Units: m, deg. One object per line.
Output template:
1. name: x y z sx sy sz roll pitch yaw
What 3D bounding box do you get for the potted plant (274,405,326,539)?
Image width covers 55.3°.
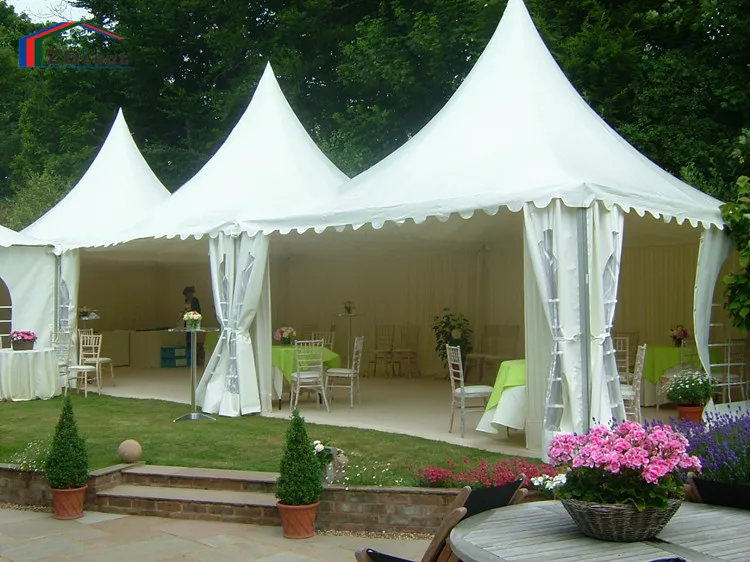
1. potted plant: -0.627 1.589 5.948 0.387 1.047 0.389 0 -6 -6

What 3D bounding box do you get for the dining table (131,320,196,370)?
1. dining table: -4.333 1.346 14.697 1.011 0.727 0.581 -6 4 -5

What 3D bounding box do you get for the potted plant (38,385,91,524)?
1. potted plant: -2.763 1.572 6.435 0.342 1.071 0.217 2 -6 -25

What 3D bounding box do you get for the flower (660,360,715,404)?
1. flower: 3.868 1.307 8.841 0.497 0.422 0.342 -4 -7 22

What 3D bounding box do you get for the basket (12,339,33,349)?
1. basket: -5.493 0.985 11.199 0.169 0.119 0.218 5 -9 -41

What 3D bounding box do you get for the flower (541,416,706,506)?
1. flower: 1.385 1.028 4.172 0.720 0.464 0.775 -7 -15 20
